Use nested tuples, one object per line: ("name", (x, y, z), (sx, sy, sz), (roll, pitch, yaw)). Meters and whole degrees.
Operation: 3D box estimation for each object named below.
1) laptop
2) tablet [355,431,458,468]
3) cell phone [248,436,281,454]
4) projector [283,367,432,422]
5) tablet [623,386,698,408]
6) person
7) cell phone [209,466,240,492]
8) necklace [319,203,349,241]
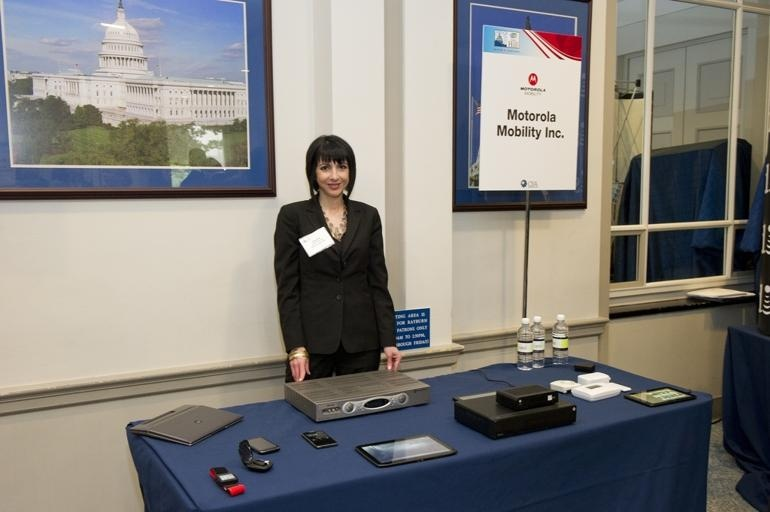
("laptop", (-0.939, 0.780, 3.036), (0.561, 0.094, 0.616), (3, 4, 2))
("tablet", (0.091, 0.898, 2.791), (0.515, 0.039, 0.365), (-2, 7, -23))
("cell phone", (-0.567, 0.877, 2.808), (0.153, 0.042, 0.102), (2, 11, 35))
("projector", (-0.187, 0.693, 3.431), (0.869, 0.156, 0.673), (10, 3, -20))
("tablet", (1.472, 0.763, 3.268), (0.365, 0.038, 0.202), (-6, 6, -27))
("person", (-0.306, 0.013, 3.446), (0.653, 1.377, 0.348), (-8, 10, -25))
("cell phone", (-0.675, 0.957, 2.597), (0.068, 0.028, 0.132), (7, 10, -43))
("necklace", (-0.278, -0.192, 3.480), (0.134, 0.192, 0.050), (1, -16, -16))
